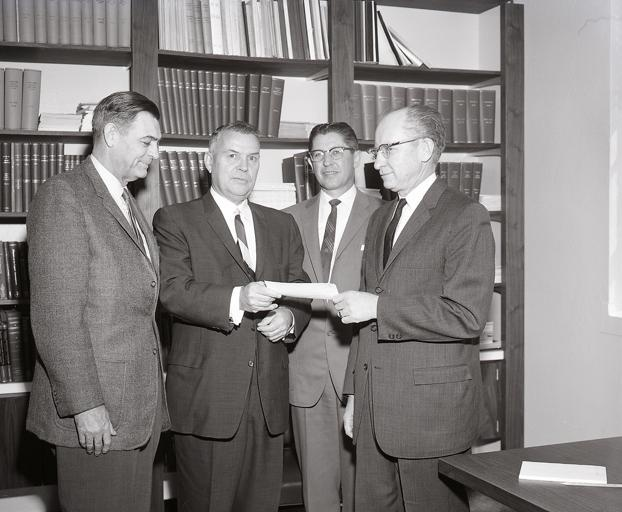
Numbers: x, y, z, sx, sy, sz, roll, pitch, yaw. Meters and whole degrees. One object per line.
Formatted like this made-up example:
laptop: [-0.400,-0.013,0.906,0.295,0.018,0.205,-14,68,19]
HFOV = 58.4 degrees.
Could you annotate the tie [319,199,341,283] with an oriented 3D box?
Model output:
tie: [0.096,-0.066,2.860,0.060,0.458,0.048,7,-20,7]

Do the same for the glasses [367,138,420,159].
glasses: [0.305,-0.414,2.148,0.093,0.031,0.093,-17,-4,-21]

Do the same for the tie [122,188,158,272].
tie: [-0.707,-0.177,2.243,0.070,0.533,0.059,-24,-32,3]
